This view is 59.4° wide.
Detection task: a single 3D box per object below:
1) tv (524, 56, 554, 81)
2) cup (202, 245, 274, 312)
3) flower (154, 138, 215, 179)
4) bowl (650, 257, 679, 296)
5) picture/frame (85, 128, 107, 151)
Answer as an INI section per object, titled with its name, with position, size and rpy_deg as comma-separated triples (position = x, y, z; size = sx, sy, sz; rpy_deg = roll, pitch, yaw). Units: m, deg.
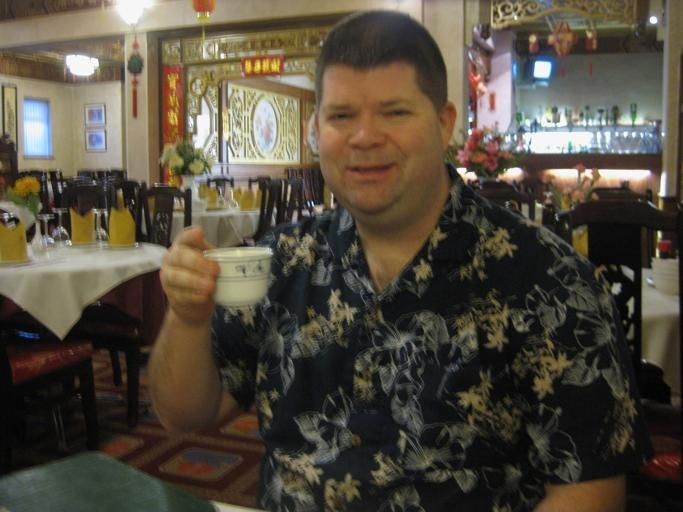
[tv]
position = 3.575, -3.369, 10.638
size = 0.491, 0.546, 0.116
rpy_deg = 10, 0, 37
[cup]
position = -0.208, 0.042, 1.204
size = 0.110, 0.104, 0.122
rpy_deg = 0, -2, 3
[flower]
position = -1.573, -0.960, 6.052
size = 0.412, 0.439, 0.454
rpy_deg = 1, 0, -3
[bowl]
position = 1.273, 0.075, 2.341
size = 0.134, 0.143, 0.154
rpy_deg = 1, -7, 10
[picture/frame]
position = -5.968, -2.863, 14.624
size = 0.432, 0.496, 0.038
rpy_deg = 9, 15, 12
